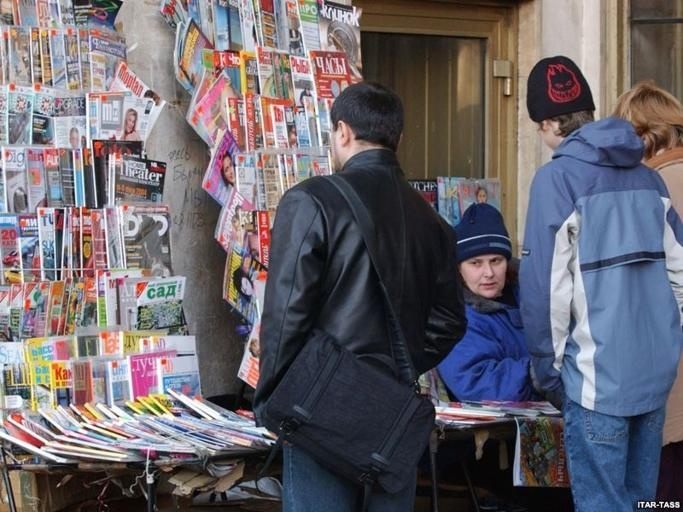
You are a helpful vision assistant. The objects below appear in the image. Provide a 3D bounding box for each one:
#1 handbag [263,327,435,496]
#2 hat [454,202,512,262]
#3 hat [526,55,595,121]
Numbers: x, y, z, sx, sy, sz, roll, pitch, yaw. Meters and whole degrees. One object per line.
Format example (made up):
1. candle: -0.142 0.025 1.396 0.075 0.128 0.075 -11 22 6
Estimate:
1. handbag: 0.018 0.591 3.681 0.641 0.506 0.234 34 -4 -5
2. hat: 0.782 -0.114 5.193 0.309 0.353 0.365 -8 -11 27
3. hat: 1.030 -0.808 4.488 0.283 0.318 0.346 -14 2 -4
